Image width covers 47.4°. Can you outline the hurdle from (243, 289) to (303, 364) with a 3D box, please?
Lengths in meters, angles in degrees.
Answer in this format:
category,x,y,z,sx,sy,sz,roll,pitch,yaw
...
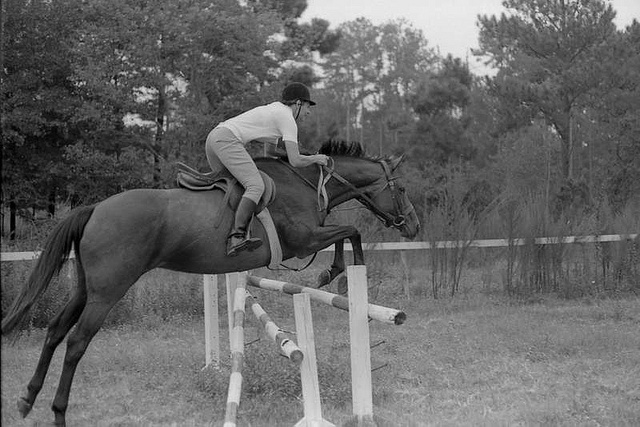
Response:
category,x,y,z,sx,sy,sz,roll,pitch,yaw
hurdle,-0.681,1.839,10.991,0.335,0.602,1.460,-5,16,-28

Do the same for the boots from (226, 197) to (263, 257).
category,x,y,z,sx,sy,sz,roll,pitch,yaw
boots,-1.170,0.254,11.377,0.547,1.004,0.429,1,1,12

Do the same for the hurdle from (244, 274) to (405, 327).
category,x,y,z,sx,sy,sz,roll,pitch,yaw
hurdle,-0.269,1.438,12.048,0.251,0.213,2.587,6,-11,44

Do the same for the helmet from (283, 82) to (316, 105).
category,x,y,z,sx,sy,sz,roll,pitch,yaw
helmet,-0.348,-1.974,12.001,0.476,0.276,0.361,0,14,-20
